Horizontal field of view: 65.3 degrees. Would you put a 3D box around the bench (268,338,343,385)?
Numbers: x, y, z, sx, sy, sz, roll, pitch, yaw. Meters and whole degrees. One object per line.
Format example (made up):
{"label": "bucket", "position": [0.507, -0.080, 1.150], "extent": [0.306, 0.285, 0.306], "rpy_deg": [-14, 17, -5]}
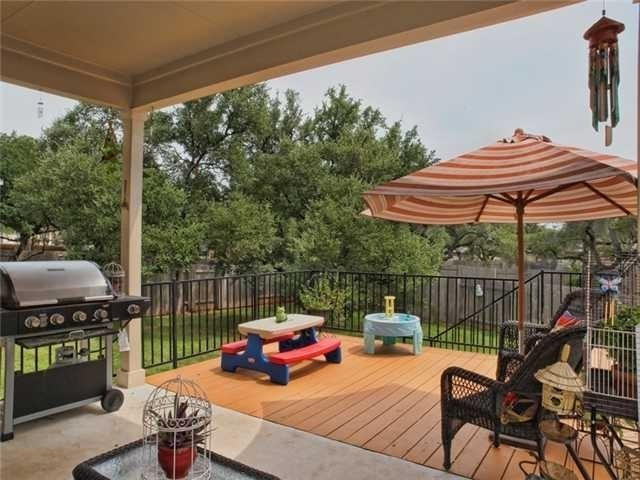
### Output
{"label": "bench", "position": [-0.150, 1.524, 6.393], "extent": [0.553, 0.364, 1.117], "rpy_deg": [3, 6, 23]}

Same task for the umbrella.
{"label": "umbrella", "position": [1.782, -0.027, 4.859], "extent": [2.144, 1.998, 2.541], "rpy_deg": [5, 7, 33]}

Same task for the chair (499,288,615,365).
{"label": "chair", "position": [2.368, 0.989, 5.456], "extent": [0.784, 0.766, 0.516], "rpy_deg": [1, -4, 19]}

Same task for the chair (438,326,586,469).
{"label": "chair", "position": [1.667, 1.304, 4.344], "extent": [1.194, 1.279, 1.220], "rpy_deg": [-1, 0, 2]}
